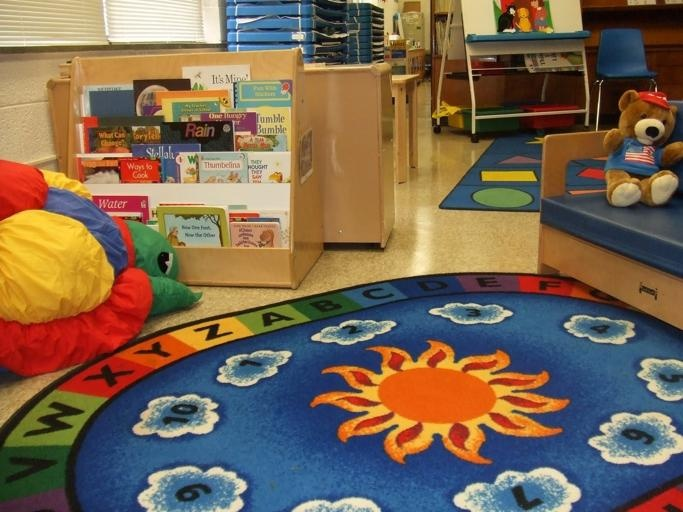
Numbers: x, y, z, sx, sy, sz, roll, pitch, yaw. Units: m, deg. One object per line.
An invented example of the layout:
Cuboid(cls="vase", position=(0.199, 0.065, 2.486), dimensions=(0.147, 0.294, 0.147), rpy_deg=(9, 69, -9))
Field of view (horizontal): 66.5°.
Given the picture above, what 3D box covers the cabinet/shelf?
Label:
Cuboid(cls="cabinet/shelf", position=(-0.816, -0.464, 2.662), dimensions=(1.451, 1.099, 1.144), rpy_deg=(3, 5, 15))
